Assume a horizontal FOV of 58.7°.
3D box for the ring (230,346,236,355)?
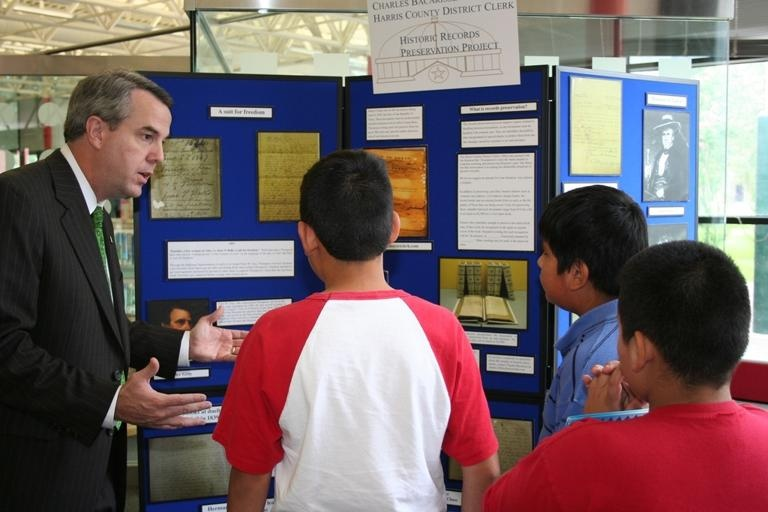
[{"bbox_3d":[-0.722,0.459,3.297,0.034,0.032,0.032,1,-1,0],"label":"ring"}]
